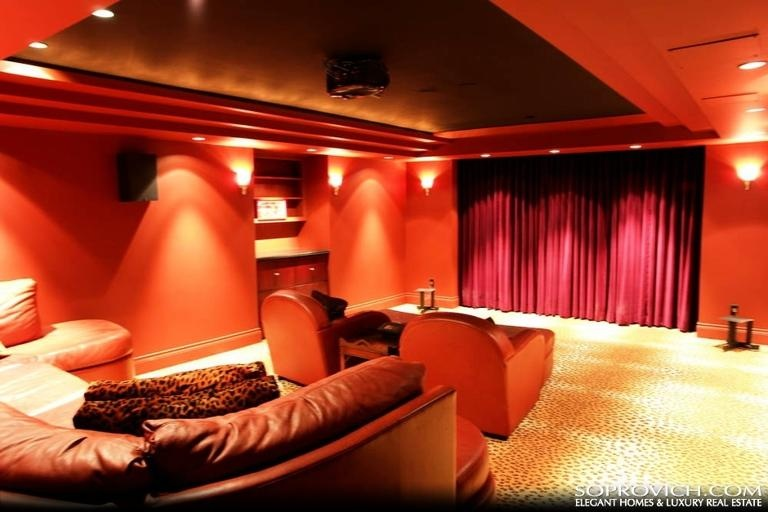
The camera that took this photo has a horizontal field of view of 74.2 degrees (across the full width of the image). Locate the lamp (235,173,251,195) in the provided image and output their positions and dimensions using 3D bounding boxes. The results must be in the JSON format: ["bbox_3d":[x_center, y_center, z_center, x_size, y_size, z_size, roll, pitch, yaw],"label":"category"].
[{"bbox_3d":[-1.753,-0.914,6.375,0.191,0.276,0.068,-9,16,-29],"label":"lamp"}]

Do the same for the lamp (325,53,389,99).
[{"bbox_3d":[-0.227,-1.480,4.171,0.455,0.148,0.320,-1,3,-1],"label":"lamp"}]

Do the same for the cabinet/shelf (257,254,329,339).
[{"bbox_3d":[-1.104,0.458,5.898,0.492,0.899,1.257,0,3,33],"label":"cabinet/shelf"}]

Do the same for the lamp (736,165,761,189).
[{"bbox_3d":[4.428,-0.975,6.219,0.251,0.300,0.089,7,17,32],"label":"lamp"}]

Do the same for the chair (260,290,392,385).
[{"bbox_3d":[-0.755,0.743,5.524,0.929,0.987,1.234,4,9,37],"label":"chair"}]

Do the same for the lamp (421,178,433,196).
[{"bbox_3d":[0.708,-1.158,8.382,0.182,0.299,0.081,8,17,33],"label":"lamp"}]

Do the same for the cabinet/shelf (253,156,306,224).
[{"bbox_3d":[-1.532,-0.987,7.349,0.352,0.931,1.164,2,4,31],"label":"cabinet/shelf"}]

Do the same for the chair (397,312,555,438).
[{"bbox_3d":[0.942,0.873,4.546,0.913,0.848,1.409,2,10,29],"label":"chair"}]

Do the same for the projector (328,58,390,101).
[{"bbox_3d":[-0.223,-1.447,4.175,0.432,0.141,0.303,2,6,14],"label":"projector"}]

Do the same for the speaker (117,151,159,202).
[{"bbox_3d":[-2.625,-0.851,5.428,0.377,0.563,0.228,-15,19,-43],"label":"speaker"}]

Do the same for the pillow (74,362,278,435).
[{"bbox_3d":[-1.125,0.766,2.713,0.637,0.157,0.638,0,2,41],"label":"pillow"}]

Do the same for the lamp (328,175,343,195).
[{"bbox_3d":[-0.724,-1.048,7.425,0.122,0.302,0.327,10,13,42],"label":"lamp"}]
